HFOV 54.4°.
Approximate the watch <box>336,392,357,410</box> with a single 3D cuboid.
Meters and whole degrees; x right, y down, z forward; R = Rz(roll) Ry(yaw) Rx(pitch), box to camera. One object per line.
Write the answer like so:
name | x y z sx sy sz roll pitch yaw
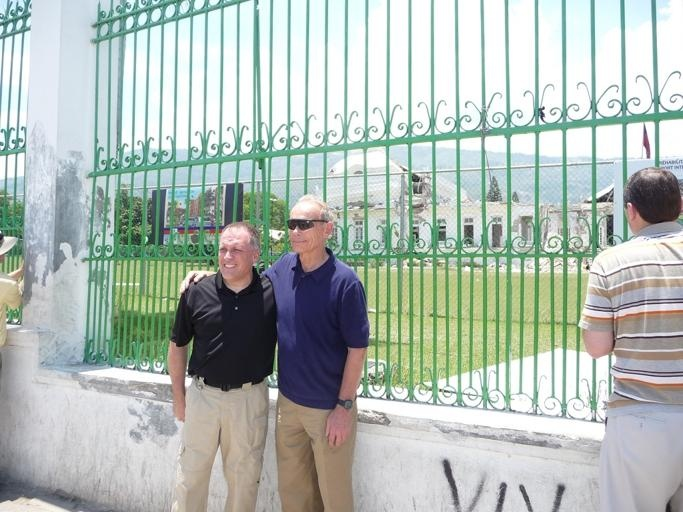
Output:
watch | 0.039 1.090 4.964 0.100 0.100 0.108 7 -17 -7
